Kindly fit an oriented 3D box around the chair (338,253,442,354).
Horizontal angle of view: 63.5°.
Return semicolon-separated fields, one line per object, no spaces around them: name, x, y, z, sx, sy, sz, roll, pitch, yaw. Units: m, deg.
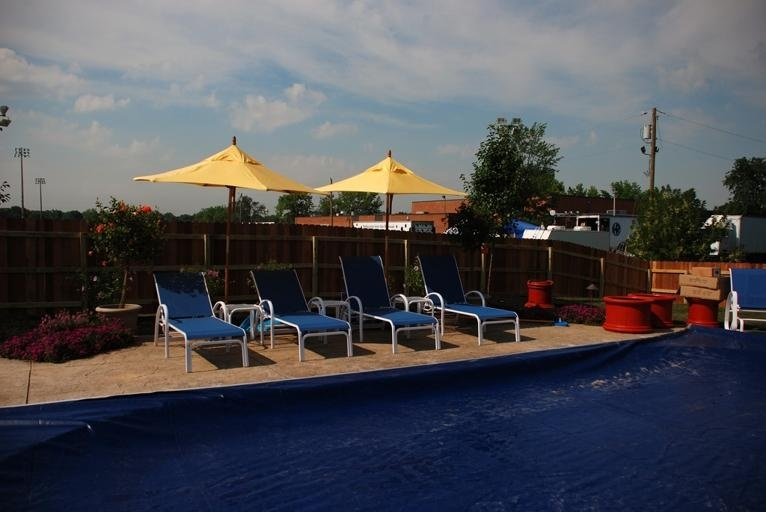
chair;0.005;0.985;13.678;1.686;1.914;2.537;-2;1;-24

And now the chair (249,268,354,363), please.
chair;-1.841;1.175;12.986;1.400;1.690;2.392;-2;1;-32

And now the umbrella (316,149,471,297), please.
umbrella;0.309;-0.852;15.001;3.037;2.665;3.093;1;4;2

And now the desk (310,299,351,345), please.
desk;-1.226;1.517;13.874;0.811;1.016;1.053;2;-3;-35

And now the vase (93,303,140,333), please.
vase;-5.617;1.293;13.236;0.679;0.475;0.676;2;-2;-27

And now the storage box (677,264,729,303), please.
storage box;7.940;0.695;15.407;0.959;0.907;0.909;0;1;-26
